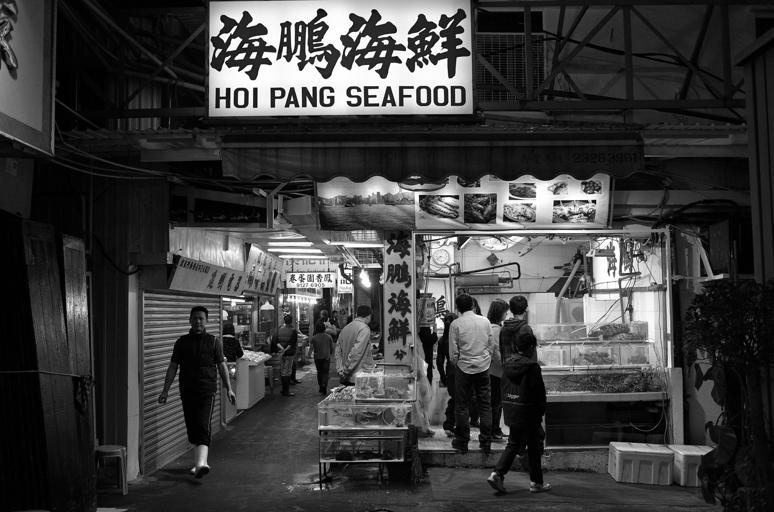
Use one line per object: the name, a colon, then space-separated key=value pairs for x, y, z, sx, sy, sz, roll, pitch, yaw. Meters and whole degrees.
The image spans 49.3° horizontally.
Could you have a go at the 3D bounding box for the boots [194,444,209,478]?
boots: x=-2.713 y=2.968 z=12.181 sx=0.160 sy=0.425 sz=0.439 roll=7 pitch=-7 yaw=12

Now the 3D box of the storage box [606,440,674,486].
storage box: x=3.697 y=3.014 z=12.469 sx=0.607 sy=0.396 sz=0.608 roll=3 pitch=-3 yaw=-18

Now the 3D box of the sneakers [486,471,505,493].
sneakers: x=1.540 y=3.150 z=11.699 sx=0.145 sy=0.175 sz=0.377 roll=16 pitch=-25 yaw=53

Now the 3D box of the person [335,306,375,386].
person: x=-0.536 y=1.824 z=14.327 sx=0.629 sy=1.835 sz=0.645 roll=-3 pitch=-1 yaw=22

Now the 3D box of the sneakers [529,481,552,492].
sneakers: x=2.146 y=3.223 z=11.790 sx=0.321 sy=0.142 sz=0.123 roll=-3 pitch=4 yaw=-18

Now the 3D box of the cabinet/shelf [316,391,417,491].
cabinet/shelf: x=-0.265 y=2.576 z=12.460 sx=1.325 sy=1.029 sz=1.344 roll=0 pitch=2 yaw=0
